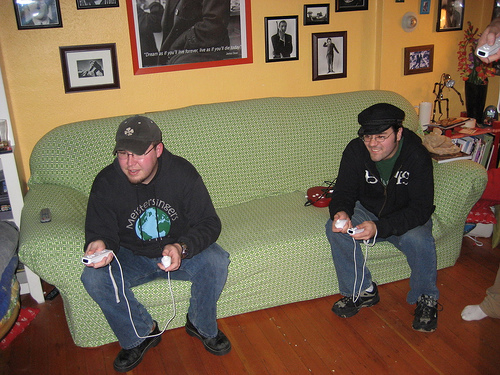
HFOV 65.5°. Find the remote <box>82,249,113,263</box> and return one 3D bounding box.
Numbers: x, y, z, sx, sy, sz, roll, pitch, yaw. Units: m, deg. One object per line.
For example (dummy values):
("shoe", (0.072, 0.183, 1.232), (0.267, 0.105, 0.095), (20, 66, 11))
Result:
("remote", (-0.739, 0.325, 1.871), (0.054, 0.025, 0.105), (18, 22, 26))

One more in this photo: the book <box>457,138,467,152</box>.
("book", (1.812, -0.363, 3.343), (0.031, 0.088, 0.083), (-11, 20, -38))

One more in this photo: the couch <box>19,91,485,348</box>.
("couch", (0.030, 0.104, 2.614), (2.867, 1.177, 1.054), (-11, 30, -14))

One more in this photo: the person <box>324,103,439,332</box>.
("person", (0.800, 0.136, 2.307), (0.674, 1.183, 0.601), (2, 23, 17))

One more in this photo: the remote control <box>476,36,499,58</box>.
("remote control", (1.307, -0.748, 2.156), (0.149, 0.046, 0.067), (-43, 61, -11))

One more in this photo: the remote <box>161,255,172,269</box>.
("remote", (-0.401, 0.354, 1.869), (0.046, 0.056, 0.048), (5, 38, 13))

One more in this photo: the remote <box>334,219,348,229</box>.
("remote", (0.510, 0.202, 2.179), (0.075, 0.039, 0.047), (-13, 24, -19))

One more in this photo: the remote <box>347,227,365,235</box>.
("remote", (0.584, 0.235, 2.138), (0.095, 0.044, 0.073), (-1, 23, 9))

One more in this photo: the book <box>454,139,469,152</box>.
("book", (1.813, -0.366, 3.336), (0.087, 0.087, 0.021), (27, 21, 28))

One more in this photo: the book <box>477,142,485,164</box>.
("book", (1.960, -0.284, 3.311), (0.028, 0.131, 0.127), (15, 36, 24))

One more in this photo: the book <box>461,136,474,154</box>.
("book", (1.872, -0.364, 3.348), (0.022, 0.100, 0.093), (6, 4, -22))

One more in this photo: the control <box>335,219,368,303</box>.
("control", (0.612, 0.427, 2.270), (0.231, 0.540, 0.121), (-13, 23, -20))
